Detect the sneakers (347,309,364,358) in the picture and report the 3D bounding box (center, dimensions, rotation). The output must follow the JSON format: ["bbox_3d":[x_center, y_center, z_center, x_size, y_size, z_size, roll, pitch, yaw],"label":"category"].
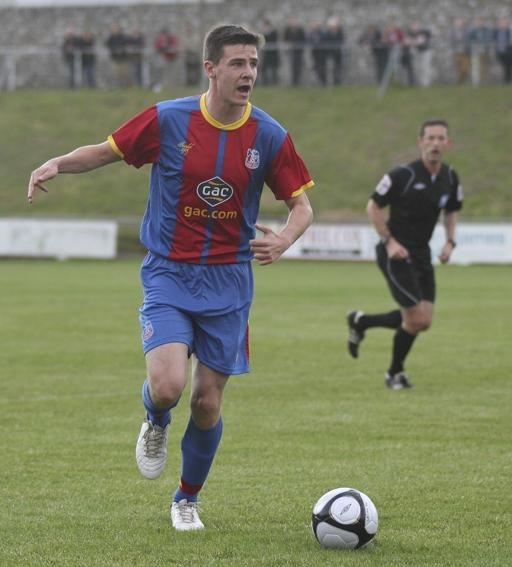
[{"bbox_3d":[0.613,0.315,9.258,0.118,0.288,0.095,-1,4,17],"label":"sneakers"}]

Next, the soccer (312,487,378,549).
[{"bbox_3d":[0.478,1.324,8.255,0.312,0.322,0.305,9,-18,-3],"label":"soccer"}]

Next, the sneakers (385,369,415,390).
[{"bbox_3d":[0.872,0.582,9.043,0.145,0.098,0.090,11,9,30],"label":"sneakers"}]

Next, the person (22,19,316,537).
[{"bbox_3d":[-0.348,-0.050,8.452,1.316,2.784,0.766,1,12,2],"label":"person"}]

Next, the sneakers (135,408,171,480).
[{"bbox_3d":[-0.591,0.927,8.568,0.136,0.415,0.172,2,0,-16],"label":"sneakers"}]

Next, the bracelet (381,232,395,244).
[{"bbox_3d":[0.813,-0.286,9.226,0.057,0.052,0.048,-30,16,-4],"label":"bracelet"}]

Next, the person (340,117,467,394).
[{"bbox_3d":[0.905,-0.224,9.211,0.623,1.621,0.715,6,13,25],"label":"person"}]
